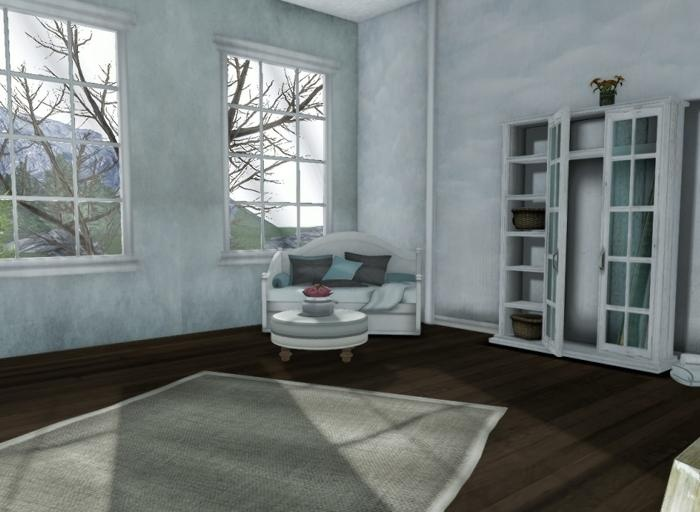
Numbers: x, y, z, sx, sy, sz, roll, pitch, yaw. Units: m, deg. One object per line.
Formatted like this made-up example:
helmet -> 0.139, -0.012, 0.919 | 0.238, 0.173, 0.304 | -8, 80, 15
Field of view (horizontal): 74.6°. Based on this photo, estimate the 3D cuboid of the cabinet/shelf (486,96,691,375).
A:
cabinet/shelf -> 2.348, -0.216, 4.635 | 1.722, 2.454, 0.835 | 5, 8, 37

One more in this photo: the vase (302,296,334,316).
vase -> -0.333, 0.509, 4.594 | 0.255, 0.103, 0.248 | 0, 0, 14

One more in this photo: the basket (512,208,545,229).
basket -> 1.942, -0.409, 5.000 | 0.310, 0.138, 0.267 | 0, -2, 4

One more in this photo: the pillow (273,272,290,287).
pillow -> -0.819, 0.280, 5.547 | 0.182, 0.150, 0.208 | 0, 2, 22

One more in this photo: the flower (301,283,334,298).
flower -> -0.321, 0.358, 4.626 | 0.239, 0.140, 0.201 | 2, 6, 16

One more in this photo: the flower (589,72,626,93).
flower -> 2.521, -1.701, 4.520 | 0.274, 0.091, 0.272 | 3, 8, 43

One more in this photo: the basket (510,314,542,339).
basket -> 1.971, 0.764, 5.059 | 0.298, 0.198, 0.360 | -2, 2, -34

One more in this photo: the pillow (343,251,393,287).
pillow -> 0.215, 0.116, 5.772 | 0.646, 0.511, 0.151 | -10, -12, -45

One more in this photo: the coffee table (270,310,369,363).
coffee table -> -0.374, 0.825, 4.624 | 0.986, 0.318, 0.913 | 0, -4, 29

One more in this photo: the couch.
couch -> -0.062, 0.312, 5.672 | 1.983, 0.931, 0.779 | -1, 17, 17
